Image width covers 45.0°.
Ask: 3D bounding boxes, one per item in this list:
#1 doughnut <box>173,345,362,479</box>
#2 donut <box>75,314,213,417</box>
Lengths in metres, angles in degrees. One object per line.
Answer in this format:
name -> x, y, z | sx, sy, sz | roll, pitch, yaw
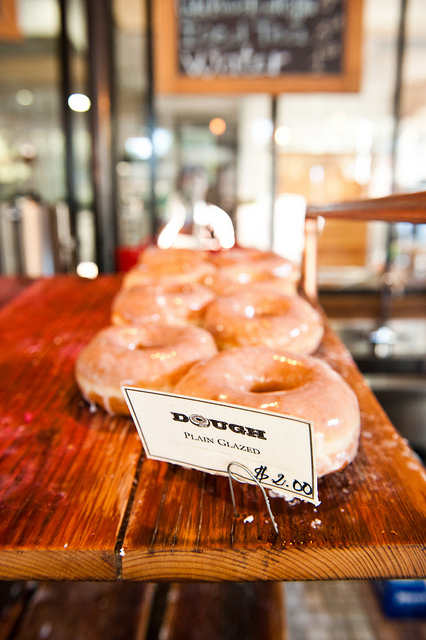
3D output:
doughnut -> 0.074, 0.111, 0.683 | 0.259, 0.092, 0.255 | 1, 18, 4
donut -> -0.106, 0.067, 0.842 | 0.241, 0.099, 0.254 | 3, 18, 17
